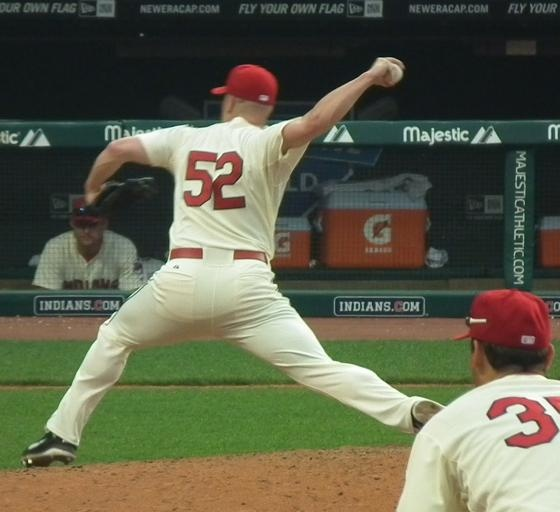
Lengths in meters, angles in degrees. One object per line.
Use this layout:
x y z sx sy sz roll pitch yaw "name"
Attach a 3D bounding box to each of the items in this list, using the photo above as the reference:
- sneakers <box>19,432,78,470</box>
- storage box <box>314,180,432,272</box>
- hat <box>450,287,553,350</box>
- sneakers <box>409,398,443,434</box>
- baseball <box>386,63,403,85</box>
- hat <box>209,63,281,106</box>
-1.571 1.364 8.502 0.380 0.212 0.187 -3 -41 13 "sneakers"
1.005 -0.398 14.418 1.352 1.119 0.779 -1 2 -22 "storage box"
1.302 0.375 7.352 0.336 0.241 0.450 2 -1 -37 "hat"
0.949 1.059 8.203 0.235 0.166 0.231 8 4 11 "sneakers"
0.801 -1.259 8.438 0.111 0.143 0.047 40 17 31 "baseball"
-0.248 -1.213 8.649 0.407 0.214 0.281 21 20 18 "hat"
